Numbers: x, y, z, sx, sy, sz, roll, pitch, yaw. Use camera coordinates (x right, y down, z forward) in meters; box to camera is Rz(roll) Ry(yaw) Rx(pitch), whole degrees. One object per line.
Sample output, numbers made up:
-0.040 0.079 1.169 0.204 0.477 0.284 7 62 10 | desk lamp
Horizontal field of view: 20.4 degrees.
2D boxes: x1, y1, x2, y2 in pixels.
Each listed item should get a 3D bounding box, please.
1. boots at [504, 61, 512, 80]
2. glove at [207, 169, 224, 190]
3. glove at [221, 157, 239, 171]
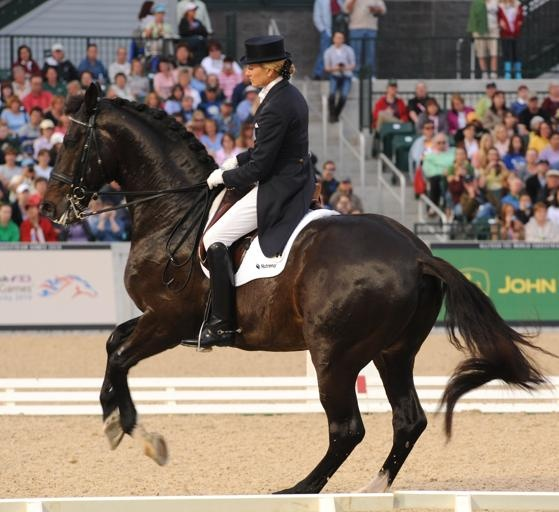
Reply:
3.371 -2.743 22.859 0.079 0.204 0.271 13 -20 10 | boots
-0.552 -0.683 13.854 0.174 0.056 0.130 -28 15 51 | glove
-0.450 -0.804 13.881 0.144 0.059 0.111 -19 28 25 | glove
